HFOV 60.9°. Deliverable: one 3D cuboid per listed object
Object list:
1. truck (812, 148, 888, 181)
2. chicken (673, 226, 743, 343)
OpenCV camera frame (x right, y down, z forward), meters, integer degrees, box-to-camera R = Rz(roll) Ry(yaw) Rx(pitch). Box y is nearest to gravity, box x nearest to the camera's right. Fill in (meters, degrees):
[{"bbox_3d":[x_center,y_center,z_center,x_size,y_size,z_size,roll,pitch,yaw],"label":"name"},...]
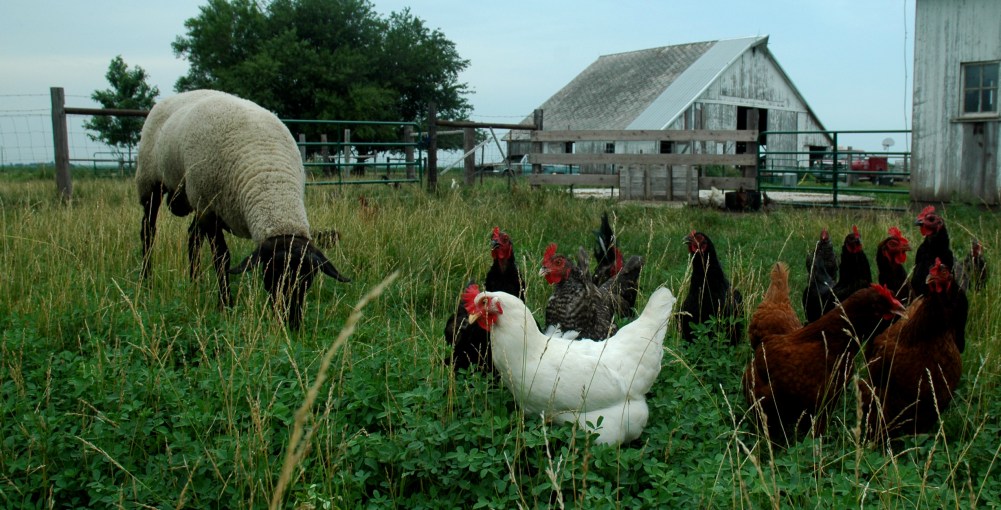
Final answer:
[{"bbox_3d":[13.093,-3.409,31.786,4.206,1.236,1.227,-4,23,-33],"label":"truck"},{"bbox_3d":[3.409,0.538,13.742,0.996,1.720,1.051,1,10,19],"label":"chicken"}]
